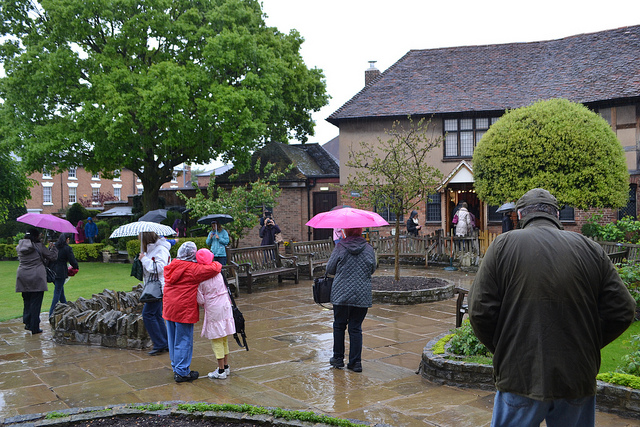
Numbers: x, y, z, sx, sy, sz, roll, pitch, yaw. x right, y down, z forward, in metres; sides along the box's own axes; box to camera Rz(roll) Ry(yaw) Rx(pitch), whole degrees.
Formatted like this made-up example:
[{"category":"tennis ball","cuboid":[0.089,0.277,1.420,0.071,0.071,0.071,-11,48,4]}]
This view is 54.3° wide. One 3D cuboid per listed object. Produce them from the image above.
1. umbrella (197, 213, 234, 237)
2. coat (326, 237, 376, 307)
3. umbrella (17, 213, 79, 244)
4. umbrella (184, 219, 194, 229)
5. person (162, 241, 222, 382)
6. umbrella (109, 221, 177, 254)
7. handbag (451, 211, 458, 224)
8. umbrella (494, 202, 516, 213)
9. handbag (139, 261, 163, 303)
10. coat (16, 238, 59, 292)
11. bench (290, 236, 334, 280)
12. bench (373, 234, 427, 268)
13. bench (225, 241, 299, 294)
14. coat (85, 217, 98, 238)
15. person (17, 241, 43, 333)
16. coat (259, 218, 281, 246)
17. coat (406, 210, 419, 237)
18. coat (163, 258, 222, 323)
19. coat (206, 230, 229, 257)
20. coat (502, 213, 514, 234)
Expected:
[{"category":"umbrella","cuboid":[-3.444,0.330,20.728,0.876,0.453,0.886,-4,-8,7]},{"category":"coat","cuboid":[0.672,1.204,13.134,1.397,1.800,1.215,1,-3,0]},{"category":"umbrella","cuboid":[-6.826,0.443,15.496,0.800,0.464,0.779,17,-6,-17]},{"category":"umbrella","cuboid":[-7.109,0.511,33.637,0.484,0.599,0.327,-1,-4,-3]},{"category":"person","cuboid":[-2.576,1.878,12.206,1.023,2.649,0.704,-3,8,-10]},{"category":"umbrella","cuboid":[-3.886,0.434,13.761,0.927,0.505,0.907,-2,-5,0]},{"category":"handbag","cuboid":[5.285,0.127,24.525,0.242,0.669,0.291,7,-26,19]},{"category":"umbrella","cuboid":[4.777,-0.162,15.831,0.481,0.176,0.462,0,-5,-36]},{"category":"handbag","cuboid":[-3.597,1.438,13.229,0.442,0.842,0.268,-3,8,-14]},{"category":"coat","cuboid":[-6.912,1.222,15.143,0.902,1.259,0.707,-4,8,-17]},{"category":"bench","cuboid":[0.076,1.468,21.623,0.863,1.286,2.784,0,2,31]},{"category":"bench","cuboid":[3.185,1.466,24.092,2.130,1.278,0.707,0,-7,6]},{"category":"bench","cuboid":[-1.720,1.512,19.479,0.934,1.388,2.901,3,8,27]},{"category":"coat","cuboid":[-11.690,0.694,31.808,0.531,0.999,0.882,-5,9,-26]},{"category":"person","cuboid":[-6.943,1.750,14.982,0.454,2.108,0.796,-7,10,-37]},{"category":"coat","cuboid":[-1.653,0.724,20.637,0.715,1.073,0.611,-2,-4,3]},{"category":"coat","cuboid":[3.633,0.372,24.607,0.395,0.986,0.713,0,8,7]},{"category":"coat","cuboid":[-2.596,1.462,12.649,1.218,1.193,1.191,-4,3,-30]},{"category":"coat","cuboid":[-2.937,0.877,18.423,0.844,0.985,0.672,-1,-8,6]},{"category":"coat","cuboid":[4.712,0.230,15.669,0.255,0.468,0.471,-5,6,7]}]
